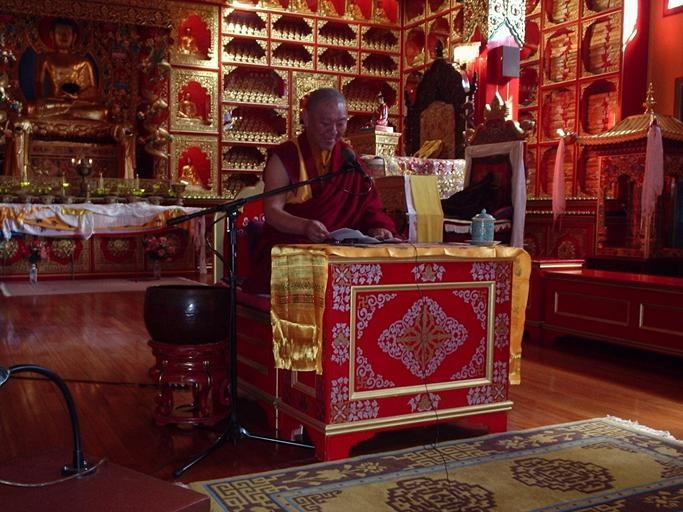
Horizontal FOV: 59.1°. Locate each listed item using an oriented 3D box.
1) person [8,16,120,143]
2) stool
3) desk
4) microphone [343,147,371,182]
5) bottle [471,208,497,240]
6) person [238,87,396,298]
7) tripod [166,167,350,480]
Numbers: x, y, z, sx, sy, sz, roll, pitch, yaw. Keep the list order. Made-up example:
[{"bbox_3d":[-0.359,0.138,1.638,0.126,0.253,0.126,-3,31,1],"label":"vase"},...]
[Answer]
[{"bbox_3d":[-3.687,-2.363,7.908,1.253,1.504,0.534,-3,8,-30],"label":"person"},{"bbox_3d":[-0.686,0.577,2.683,0.316,0.367,0.322,-12,-15,34],"label":"stool"},{"bbox_3d":[0.233,0.370,2.661,1.008,0.829,0.587,0,0,-26],"label":"desk"},{"bbox_3d":[0.054,-0.371,2.431,0.087,0.131,0.238,3,7,14],"label":"microphone"},{"bbox_3d":[0.629,-0.132,2.653,0.099,0.146,0.097,1,3,0],"label":"bottle"},{"bbox_3d":[-0.110,-0.264,2.677,0.673,0.922,0.590,-2,11,-23],"label":"person"},{"bbox_3d":[-0.243,0.218,2.913,0.993,1.318,0.723,-5,7,-11],"label":"tripod"}]
